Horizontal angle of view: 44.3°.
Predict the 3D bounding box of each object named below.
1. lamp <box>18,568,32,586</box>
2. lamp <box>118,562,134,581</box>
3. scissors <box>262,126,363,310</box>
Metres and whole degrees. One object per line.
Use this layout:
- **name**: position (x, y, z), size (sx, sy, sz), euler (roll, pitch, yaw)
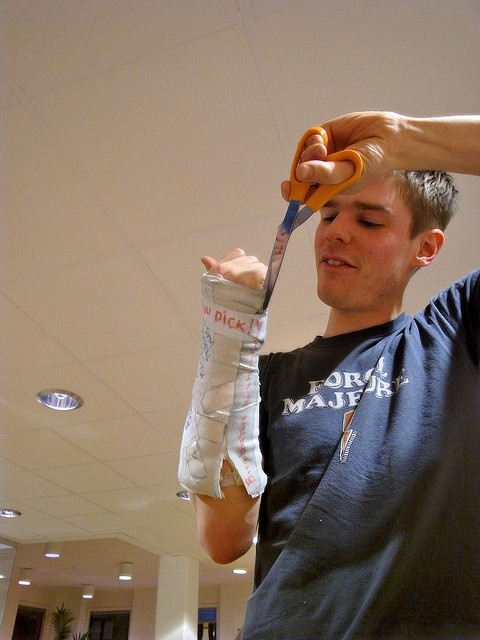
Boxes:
- **lamp**: position (-2.755, 3.280, 7.553), size (0.142, 0.179, 0.323), euler (9, -25, -17)
- **lamp**: position (-1.423, 3.107, 7.315), size (0.159, 0.171, 0.368), euler (6, -24, -9)
- **scissors**: position (0.071, -0.101, 0.607), size (0.075, 0.010, 0.200), euler (27, -58, 10)
